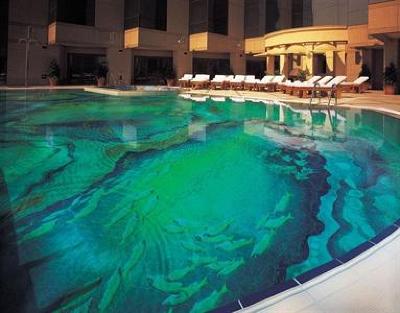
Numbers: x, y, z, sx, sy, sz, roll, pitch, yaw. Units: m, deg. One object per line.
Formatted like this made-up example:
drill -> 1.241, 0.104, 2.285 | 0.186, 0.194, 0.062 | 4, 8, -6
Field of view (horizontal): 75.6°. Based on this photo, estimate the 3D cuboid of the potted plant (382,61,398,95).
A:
potted plant -> 11.918, -4.917, 16.128 | 0.740, 1.977, 0.778 | 4, 17, 37
